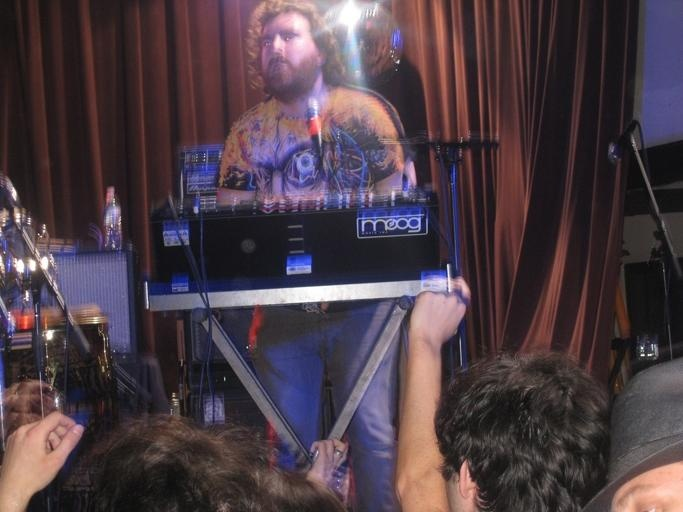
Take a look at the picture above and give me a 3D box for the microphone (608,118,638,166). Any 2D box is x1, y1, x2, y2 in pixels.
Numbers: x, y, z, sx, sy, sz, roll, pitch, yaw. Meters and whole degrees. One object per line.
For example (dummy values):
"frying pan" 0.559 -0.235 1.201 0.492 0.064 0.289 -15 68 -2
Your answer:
"microphone" 1.523 -0.626 4.379 0.157 0.216 0.344 -1 2 19
